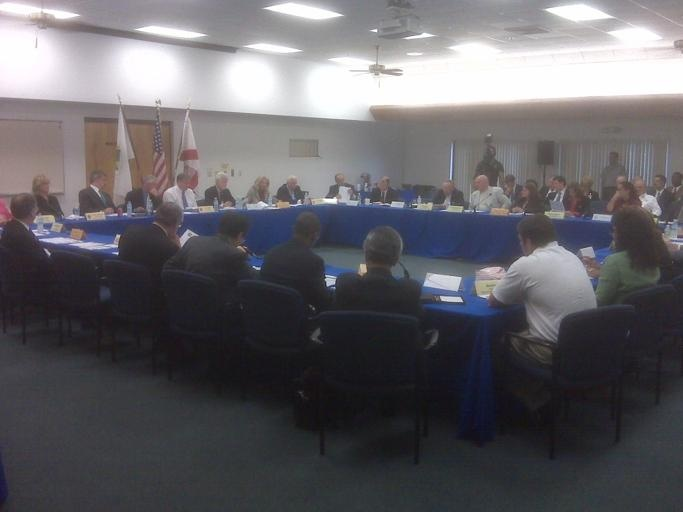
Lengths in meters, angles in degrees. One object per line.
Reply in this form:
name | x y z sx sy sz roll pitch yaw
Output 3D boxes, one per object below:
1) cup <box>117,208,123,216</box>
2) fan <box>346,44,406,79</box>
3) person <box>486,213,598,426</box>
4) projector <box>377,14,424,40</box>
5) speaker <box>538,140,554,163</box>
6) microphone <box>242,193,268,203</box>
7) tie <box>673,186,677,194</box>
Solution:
cup | -2.991 -0.590 7.833 0.067 0.089 0.091 1 13 -5
fan | 0.664 -3.462 10.885 1.083 0.622 1.113 -3 13 -22
person | 1.306 0.432 3.914 0.547 1.394 0.710 -6 12 -24
projector | 0.802 -2.915 7.497 0.425 0.218 0.322 9 16 42
speaker | 4.526 -2.283 12.942 0.336 0.504 0.290 5 15 20
microphone | -1.438 -0.935 9.575 0.221 0.112 0.287 -3 8 -38
tie | 5.747 -1.123 10.019 0.076 0.083 0.108 -7 -11 14
